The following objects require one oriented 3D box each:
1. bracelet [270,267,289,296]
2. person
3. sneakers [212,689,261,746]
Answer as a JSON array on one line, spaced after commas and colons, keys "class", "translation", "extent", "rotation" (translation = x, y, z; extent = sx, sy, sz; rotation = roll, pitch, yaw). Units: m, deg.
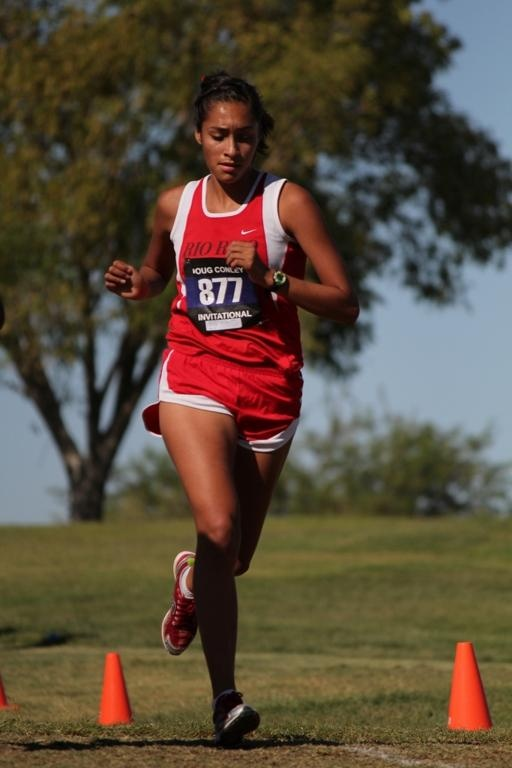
[{"class": "bracelet", "translation": [0.060, -0.268, 2.693], "extent": [0.048, 0.060, 0.060], "rotation": [-3, -28, -15]}, {"class": "person", "translation": [-0.088, 0.047, 2.886], "extent": [0.548, 1.879, 0.607], "rotation": [12, -13, -43]}, {"class": "sneakers", "translation": [-0.084, 0.876, 2.631], "extent": [0.091, 0.088, 0.192], "rotation": [6, -33, -28]}]
